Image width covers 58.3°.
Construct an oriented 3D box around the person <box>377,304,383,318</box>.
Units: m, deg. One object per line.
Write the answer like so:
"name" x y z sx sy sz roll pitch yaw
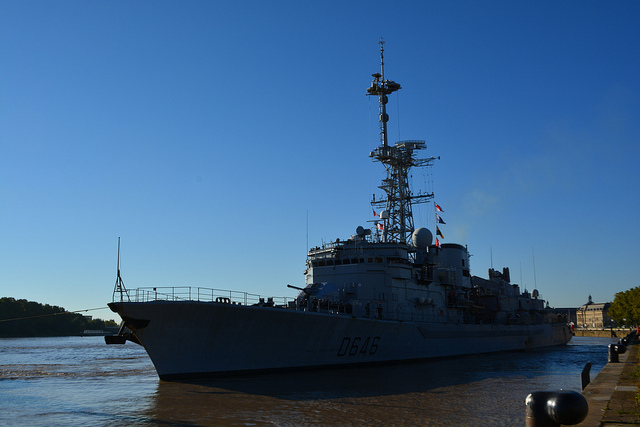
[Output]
"person" 3.520 5.712 33.431 0.209 0.756 0.734 -4 -9 12
